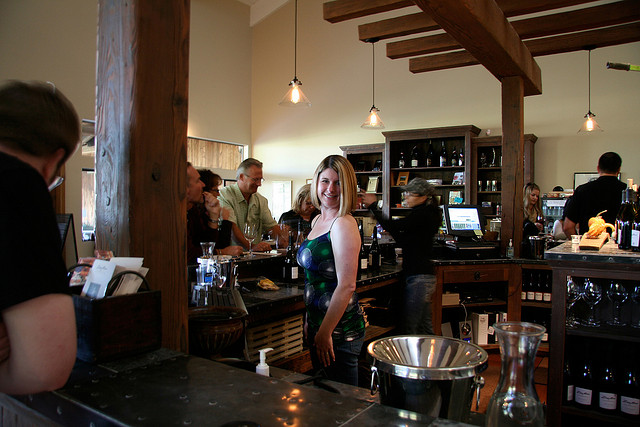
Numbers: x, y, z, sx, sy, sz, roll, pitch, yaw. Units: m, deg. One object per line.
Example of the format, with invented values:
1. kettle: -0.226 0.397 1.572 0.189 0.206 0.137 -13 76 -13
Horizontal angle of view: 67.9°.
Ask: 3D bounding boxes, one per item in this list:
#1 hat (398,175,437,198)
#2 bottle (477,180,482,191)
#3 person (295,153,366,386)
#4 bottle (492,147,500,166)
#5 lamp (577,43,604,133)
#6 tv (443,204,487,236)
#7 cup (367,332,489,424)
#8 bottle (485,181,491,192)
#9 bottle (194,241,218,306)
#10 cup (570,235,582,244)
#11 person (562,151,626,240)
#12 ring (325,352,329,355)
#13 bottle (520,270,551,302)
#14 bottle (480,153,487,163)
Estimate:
1. hat: 0.890 -0.237 4.233 0.255 0.163 0.213 3 13 20
2. bottle: 2.642 -0.468 7.802 0.088 0.156 0.146 4 13 24
3. person: 0.067 0.352 2.716 0.366 1.340 0.439 -2 12 -3
4. bottle: 2.855 -0.930 7.701 0.135 0.294 0.245 0 12 8
5. lamp: 4.041 -1.825 7.027 0.252 1.239 1.151 5 13 28
6. tv: 1.608 0.080 5.223 0.453 0.336 0.219 -1 12 2
7. cup: 0.382 0.600 1.715 0.415 0.231 0.273 2 12 16
8. bottle: 2.750 -0.456 7.738 0.094 0.152 0.181 2 12 17
9. bottle: -0.633 0.343 2.626 0.128 0.249 0.518 -4 12 -14
10. cup: 1.906 0.190 3.534 0.090 0.064 0.092 0 2 0
11. person: 2.620 -0.150 4.579 0.323 0.866 0.486 -12 16 -41
12. ring: 0.043 0.756 2.583 0.020 0.014 0.011 5 -15 -10
13. bottle: 2.259 0.759 4.952 0.317 0.155 0.304 -1 33 1
14. bottle: 2.688 -0.909 7.801 0.101 0.182 0.163 2 12 17
